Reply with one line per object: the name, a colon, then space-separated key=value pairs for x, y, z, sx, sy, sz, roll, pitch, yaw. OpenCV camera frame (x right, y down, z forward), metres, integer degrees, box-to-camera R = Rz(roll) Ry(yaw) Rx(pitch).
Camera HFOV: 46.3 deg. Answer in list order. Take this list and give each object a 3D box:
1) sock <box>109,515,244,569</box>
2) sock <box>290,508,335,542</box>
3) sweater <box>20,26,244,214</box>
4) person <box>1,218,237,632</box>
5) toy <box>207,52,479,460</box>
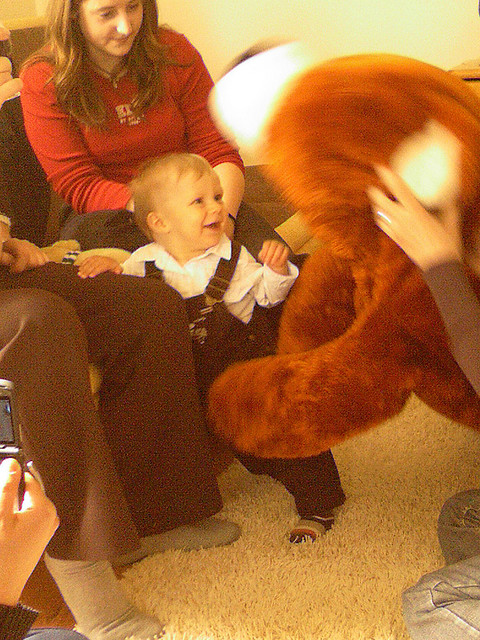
sock: x=-0.124 y=0.428 z=1.095 sx=0.259 sy=0.042 sz=0.057 roll=-6 pitch=47 yaw=-9
sock: x=0.144 y=0.409 z=1.117 sx=0.099 sy=0.024 sz=0.041 roll=-8 pitch=47 yaw=-12
sweater: x=-0.237 y=-0.377 z=1.135 sx=0.406 sy=0.363 sz=0.293 roll=-18 pitch=36 yaw=-30
person: x=-0.236 y=0.163 z=1.419 sx=0.689 sy=0.762 sz=0.627 roll=-8 pitch=8 yaw=-25
toy: x=0.188 y=-0.160 z=1.117 sx=0.421 sy=0.621 sz=1.038 roll=5 pitch=31 yaw=14
